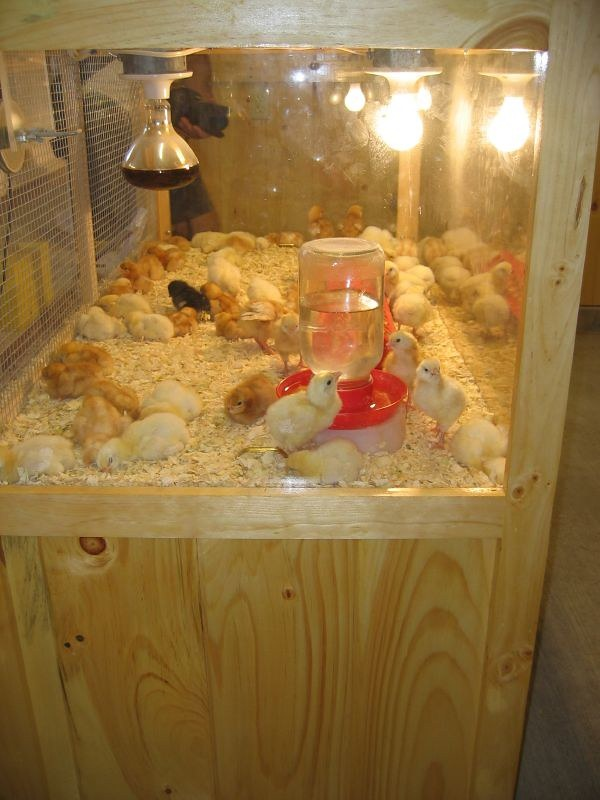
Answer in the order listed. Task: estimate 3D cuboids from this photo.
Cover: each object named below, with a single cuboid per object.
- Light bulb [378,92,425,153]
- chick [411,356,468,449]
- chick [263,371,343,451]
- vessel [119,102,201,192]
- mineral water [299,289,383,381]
[{"bbox_3d":[0.154,-0.461,1.108,0.048,0.107,0.050,-4,55,2],"label":"Light bulb"},{"bbox_3d":[0.217,-0.002,0.996,0.088,0.121,0.070,-11,21,-34],"label":"chick"},{"bbox_3d":[0.004,0.005,0.987,0.120,0.116,0.084,-20,28,-11],"label":"chick"},{"bbox_3d":[-0.240,-0.453,1.092,0.124,0.180,0.122,-3,33,-9],"label":"vessel"},{"bbox_3d":[0.053,-0.106,1.051,0.140,0.132,0.133,-2,10,-6],"label":"mineral water"}]
